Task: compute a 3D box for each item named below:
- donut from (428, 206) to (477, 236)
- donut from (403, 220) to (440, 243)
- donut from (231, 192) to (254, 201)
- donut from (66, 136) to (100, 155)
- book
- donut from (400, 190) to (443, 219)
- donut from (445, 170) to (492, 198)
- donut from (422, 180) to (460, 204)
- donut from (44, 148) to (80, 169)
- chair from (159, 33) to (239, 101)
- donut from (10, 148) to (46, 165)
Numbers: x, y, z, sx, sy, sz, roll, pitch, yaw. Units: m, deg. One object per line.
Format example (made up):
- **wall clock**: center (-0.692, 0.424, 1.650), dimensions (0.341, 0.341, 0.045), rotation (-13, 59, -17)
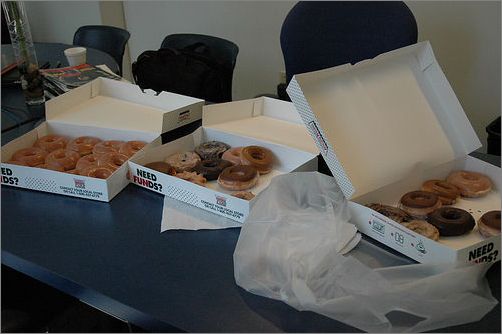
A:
- **donut**: center (0.573, 0.150, 1.019), dimensions (0.091, 0.033, 0.090), rotation (-20, 28, -23)
- **donut**: center (0.479, 0.183, 1.026), dimensions (0.065, 0.021, 0.064), rotation (0, 27, 0)
- **donut**: center (-0.023, 0.092, 1.182), dimensions (0.036, 0.012, 0.036), rotation (-10, 21, -28)
- **donut**: center (-0.655, -0.086, 1.408), dimensions (0.079, 0.029, 0.079), rotation (-1, 25, 2)
- **book**: center (-0.885, -0.443, 1.873), dimensions (0.354, 0.122, 0.412), rotation (-16, 29, -26)
- **donut**: center (0.519, 0.113, 1.116), dimensions (0.128, 0.047, 0.126), rotation (-9, 22, -3)
- **donut**: center (0.698, 0.050, 1.155), dimensions (0.096, 0.032, 0.096), rotation (-30, 36, -34)
- **donut**: center (0.603, 0.073, 1.142), dimensions (0.075, 0.025, 0.076), rotation (-12, 32, -24)
- **donut**: center (-0.689, -0.026, 1.318), dimensions (0.080, 0.030, 0.080), rotation (3, 32, 2)
- **chair**: center (-0.329, -0.694, 2.508), dimensions (0.287, 0.409, 0.581), rotation (-21, 32, -34)
- **donut**: center (-0.810, -0.057, 1.314), dimensions (0.078, 0.029, 0.078), rotation (0, 26, 1)
